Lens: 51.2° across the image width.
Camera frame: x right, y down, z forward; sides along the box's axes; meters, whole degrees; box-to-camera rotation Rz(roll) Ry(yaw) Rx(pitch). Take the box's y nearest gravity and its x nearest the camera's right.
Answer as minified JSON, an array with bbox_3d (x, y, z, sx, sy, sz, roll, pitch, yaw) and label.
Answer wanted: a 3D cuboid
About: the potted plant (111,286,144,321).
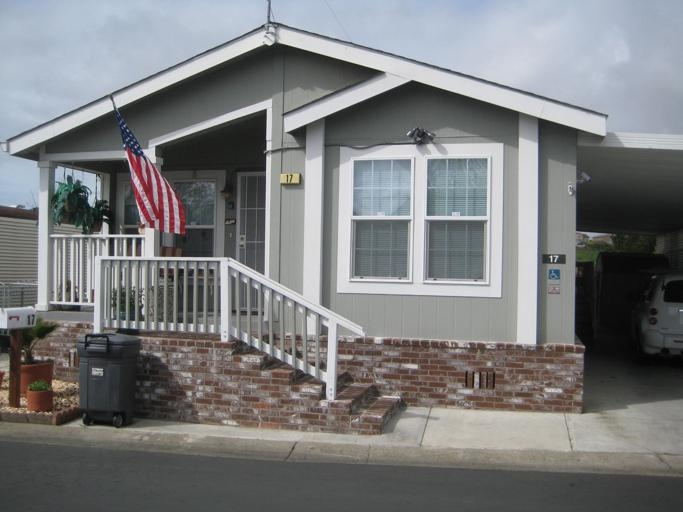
[{"bbox_3d":[-3.502,0.771,11.599,0.595,0.594,0.614,0,-3,29],"label":"potted plant"}]

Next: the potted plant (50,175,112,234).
[{"bbox_3d":[-4.985,-0.988,13.648,0.513,1.098,1.376,2,6,11],"label":"potted plant"}]

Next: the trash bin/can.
[{"bbox_3d":[-3.384,1.800,10.382,0.839,1.341,0.412,-1,6,-21],"label":"trash bin/can"}]

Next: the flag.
[{"bbox_3d":[-3.009,-1.319,11.301,1.032,1.926,0.584,-2,6,-25],"label":"flag"}]

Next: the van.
[{"bbox_3d":[7.521,1.256,19.881,2.287,2.243,4.001,0,2,6],"label":"van"}]
